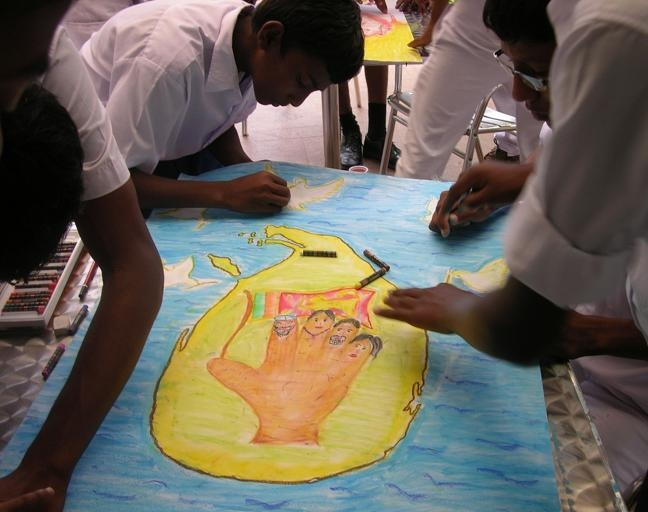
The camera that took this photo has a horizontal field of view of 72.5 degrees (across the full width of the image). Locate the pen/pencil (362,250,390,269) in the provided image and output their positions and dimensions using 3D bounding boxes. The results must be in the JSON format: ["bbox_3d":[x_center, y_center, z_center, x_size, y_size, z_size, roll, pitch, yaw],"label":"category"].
[{"bbox_3d":[0.139,0.008,1.213,0.030,0.025,0.092,-40,57,-9],"label":"pen/pencil"}]

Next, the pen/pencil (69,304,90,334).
[{"bbox_3d":[-0.590,0.151,1.079,0.023,0.025,0.079,26,39,-2],"label":"pen/pencil"}]

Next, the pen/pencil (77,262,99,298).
[{"bbox_3d":[-0.625,0.066,1.169,0.018,0.022,0.134,21,32,-3],"label":"pen/pencil"}]

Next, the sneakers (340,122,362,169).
[{"bbox_3d":[0.180,-0.761,3.110,0.133,0.143,0.391,0,56,0],"label":"sneakers"}]
